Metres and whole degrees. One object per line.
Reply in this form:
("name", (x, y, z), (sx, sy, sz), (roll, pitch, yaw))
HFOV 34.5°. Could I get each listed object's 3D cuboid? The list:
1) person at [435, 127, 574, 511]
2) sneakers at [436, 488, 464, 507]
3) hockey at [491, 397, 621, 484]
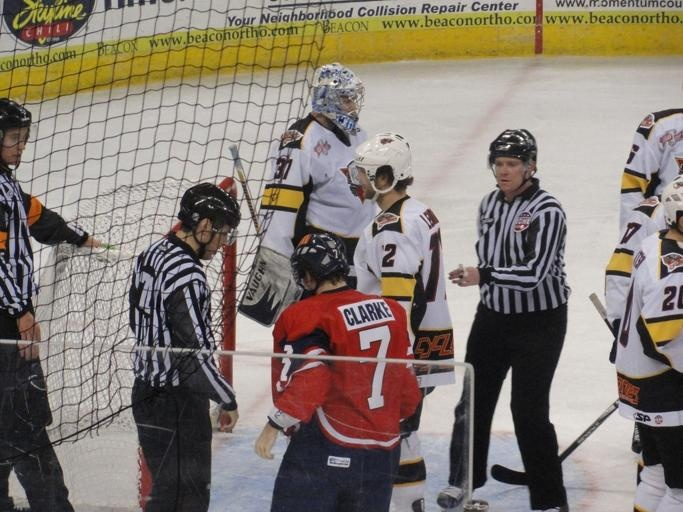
("person", (1.017, 0.338, 6.289), (0.660, 2.097, 0.828), (3, 10, 8))
("sneakers", (0.506, 1.112, 5.079), (0.086, 0.039, 0.116), (3, 11, 15))
("hockey", (1.251, 1.091, 6.411), (0.148, 0.634, 0.214), (41, -12, 39))
